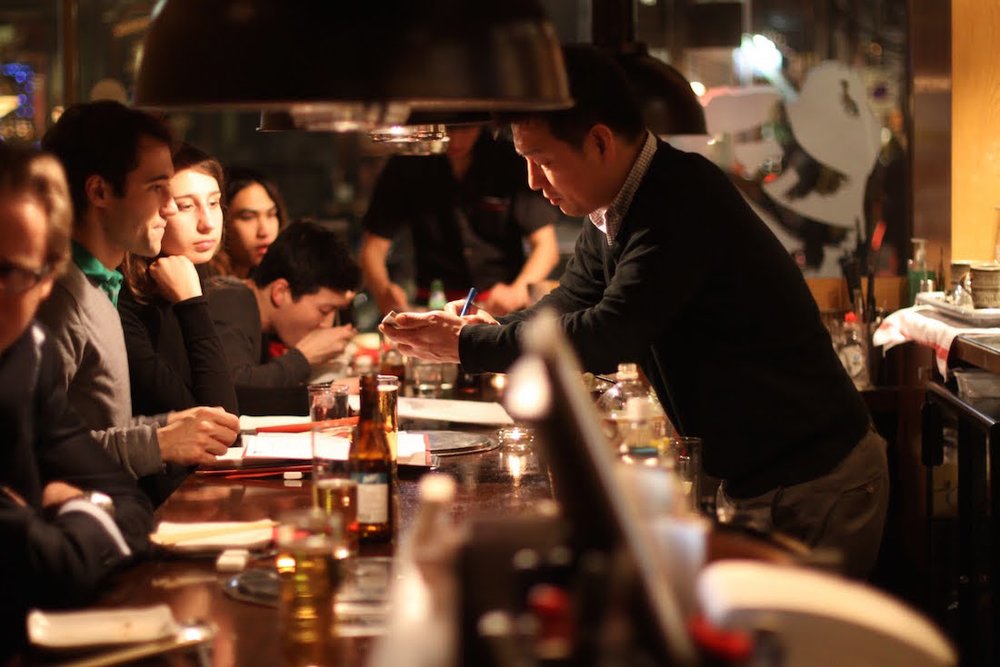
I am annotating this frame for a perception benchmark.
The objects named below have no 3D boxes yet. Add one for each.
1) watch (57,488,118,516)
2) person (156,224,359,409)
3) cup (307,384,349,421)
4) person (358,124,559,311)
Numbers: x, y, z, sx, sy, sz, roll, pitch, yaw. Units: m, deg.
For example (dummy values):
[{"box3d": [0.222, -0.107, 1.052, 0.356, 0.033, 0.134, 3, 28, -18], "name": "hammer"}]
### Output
[{"box3d": [-0.880, 0.354, 1.936, 0.064, 0.044, 0.063, 3, -3, -41], "name": "watch"}, {"box3d": [-0.949, -0.115, 3.962, 0.814, 1.180, 0.632, 0, 4, -10], "name": "person"}, {"box3d": [-0.513, 0.205, 2.698, 0.111, 0.113, 0.109, 0, -1, 0], "name": "cup"}, {"box3d": [-0.253, -0.550, 5.673, 1.557, 1.470, 1.035, 0, 11, 2], "name": "person"}]
